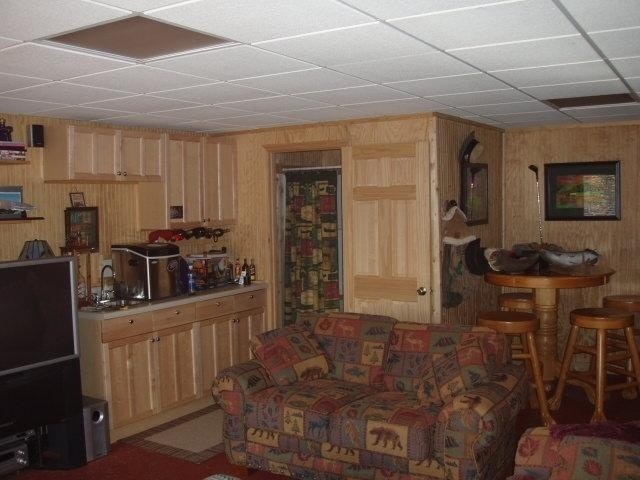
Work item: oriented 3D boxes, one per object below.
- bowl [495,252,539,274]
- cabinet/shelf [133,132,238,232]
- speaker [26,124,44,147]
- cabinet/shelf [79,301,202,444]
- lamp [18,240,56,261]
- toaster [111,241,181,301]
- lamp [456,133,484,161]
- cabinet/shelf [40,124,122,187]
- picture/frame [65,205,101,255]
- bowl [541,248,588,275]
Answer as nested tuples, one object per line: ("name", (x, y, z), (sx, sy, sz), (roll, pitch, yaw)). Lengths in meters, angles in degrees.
("bowl", (1.996, 0.229, 5.074), (0.288, 0.080, 0.257), (-6, 1, 27))
("cabinet/shelf", (-1.601, -0.668, 5.882), (0.564, 1.010, 1.400), (4, 9, 20))
("speaker", (-2.628, -0.960, 4.650), (0.138, 0.207, 0.088), (-6, 6, -26))
("cabinet/shelf", (-1.886, 1.203, 5.051), (0.661, 1.066, 1.410), (-5, -2, 19))
("lamp", (-2.383, 0.090, 4.251), (0.260, 0.125, 0.256), (-2, -1, 39))
("toaster", (-1.809, 0.324, 5.256), (0.654, 0.442, 0.512), (-1, 1, 39))
("lamp", (1.698, -1.018, 5.620), (0.102, 0.325, 0.407), (17, 13, 34))
("cabinet/shelf", (-2.417, -0.881, 4.906), (0.748, 0.503, 0.399), (8, 13, 29))
("picture/frame", (-2.350, -0.100, 4.935), (0.212, 0.459, 0.317), (-3, 5, 9))
("bowl", (2.482, 0.210, 5.110), (0.352, 0.118, 0.381), (5, -1, 0))
